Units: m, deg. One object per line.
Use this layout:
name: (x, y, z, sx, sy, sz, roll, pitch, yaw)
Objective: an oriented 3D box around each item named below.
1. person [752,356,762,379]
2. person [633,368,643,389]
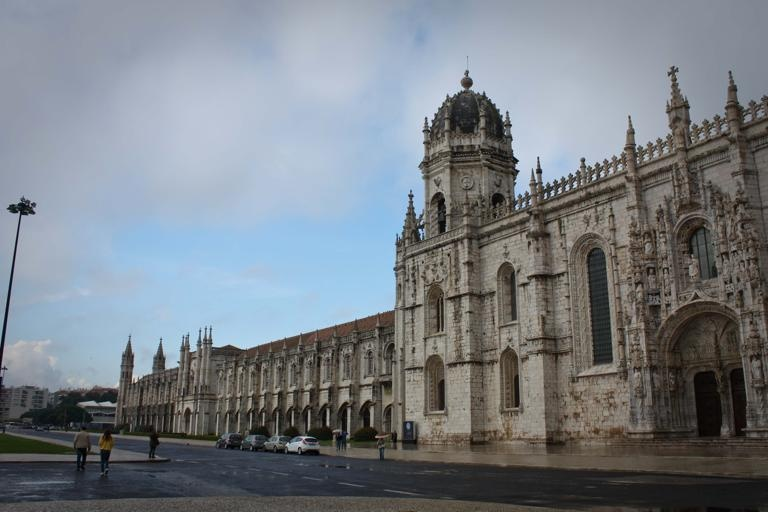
person: (20.003, 6.012, 37.610, 0.534, 1.188, 0.321, -11, -22, 27)
person: (15.104, 7.242, 41.816, 0.589, 1.034, 0.164, -18, -26, 41)
